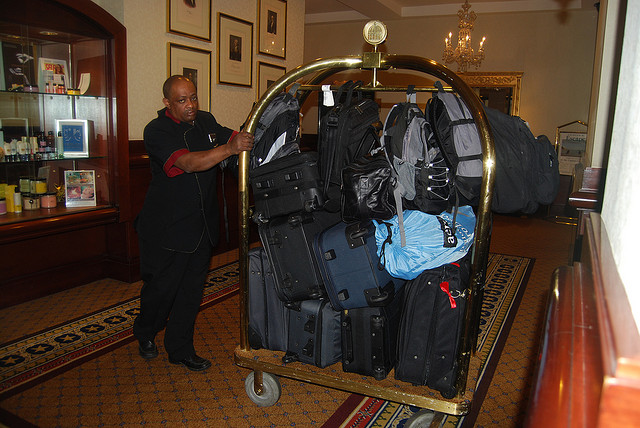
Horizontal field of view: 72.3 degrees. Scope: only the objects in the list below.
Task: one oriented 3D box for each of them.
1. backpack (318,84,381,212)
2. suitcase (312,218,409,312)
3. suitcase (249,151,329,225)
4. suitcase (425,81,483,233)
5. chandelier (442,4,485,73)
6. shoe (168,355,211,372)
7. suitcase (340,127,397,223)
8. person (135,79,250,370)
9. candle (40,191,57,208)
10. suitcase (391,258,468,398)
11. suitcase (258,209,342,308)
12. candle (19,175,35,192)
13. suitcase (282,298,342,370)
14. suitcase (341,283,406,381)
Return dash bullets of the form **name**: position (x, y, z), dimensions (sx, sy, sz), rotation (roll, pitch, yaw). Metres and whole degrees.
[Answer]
- **backpack**: position (0.169, -0.368, 2.510), dimensions (0.246, 0.642, 0.500), rotation (20, 33, 15)
- **suitcase**: position (0.195, 0.186, 2.784), dimensions (0.412, 0.645, 0.681), rotation (-17, 22, 7)
- **suitcase**: position (-0.183, -0.170, 2.729), dimensions (0.437, 0.354, 0.333), rotation (-11, 4, 25)
- **suitcase**: position (0.709, -0.366, 2.533), dimensions (0.377, 0.723, 0.502), rotation (-3, 11, 36)
- **chandelier**: position (2.495, -3.093, 7.487), dimensions (0.694, 1.139, 2.207), rotation (5, 14, 15)
- **shoe**: position (-1.000, 1.102, 3.346), dimensions (0.325, 0.148, 0.125), rotation (2, 6, 11)
- **suitcase**: position (0.315, -0.239, 2.647), dimensions (0.313, 0.505, 0.523), rotation (-1, 4, 22)
- **person**: position (-0.973, 0.095, 3.216), dimensions (0.950, 2.106, 0.790), rotation (6, 9, 8)
- **candle**: position (-2.521, -0.144, 4.118), dimensions (0.126, 0.138, 0.125), rotation (8, 12, 9)
- **suitcase**: position (0.654, 0.671, 2.783), dimensions (0.453, 0.777, 0.550), rotation (10, 0, -15)
- **suitcase**: position (-0.113, 0.258, 2.686), dimensions (0.368, 0.675, 0.423), rotation (-14, 5, 40)
- **candle**: position (-2.640, -0.277, 3.921), dimensions (0.102, 0.145, 0.038), rotation (-9, 16, -37)
- **suitcase**: position (-0.039, 0.762, 2.897), dimensions (0.428, 0.457, 0.372), rotation (2, 3, 41)
- **suitcase**: position (0.313, 0.688, 2.603), dimensions (0.296, 0.536, 0.566), rotation (1, 9, 23)
